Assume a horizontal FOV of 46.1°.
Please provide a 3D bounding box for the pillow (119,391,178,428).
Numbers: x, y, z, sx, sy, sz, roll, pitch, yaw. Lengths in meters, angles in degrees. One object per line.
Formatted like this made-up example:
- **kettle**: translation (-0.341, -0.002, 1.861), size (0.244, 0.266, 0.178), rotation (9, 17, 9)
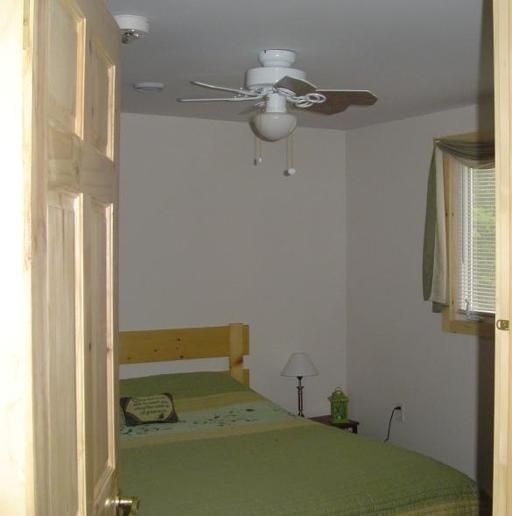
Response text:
- **pillow**: translation (-0.608, 0.880, 3.478), size (0.221, 0.057, 0.190), rotation (-2, 29, -28)

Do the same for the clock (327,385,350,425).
- **clock**: translation (0.627, 1.136, 4.650), size (0.222, 0.233, 0.208), rotation (-7, -11, 36)

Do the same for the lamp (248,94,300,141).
- **lamp**: translation (0.079, -0.584, 2.568), size (0.198, 0.163, 0.171), rotation (2, -5, -8)

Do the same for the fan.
- **fan**: translation (0.158, -0.690, 2.472), size (0.588, 0.146, 0.531), rotation (2, -4, -8)

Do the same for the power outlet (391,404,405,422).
- **power outlet**: translation (1.058, 1.157, 4.480), size (0.080, 0.131, 0.145), rotation (8, -14, -23)
